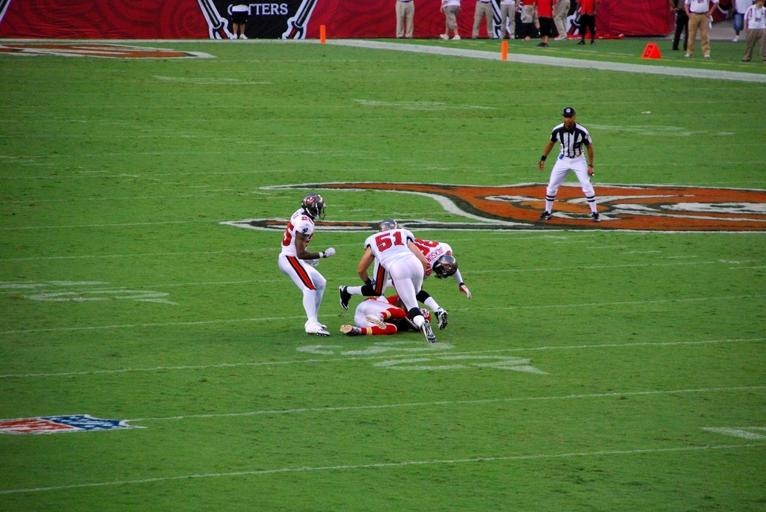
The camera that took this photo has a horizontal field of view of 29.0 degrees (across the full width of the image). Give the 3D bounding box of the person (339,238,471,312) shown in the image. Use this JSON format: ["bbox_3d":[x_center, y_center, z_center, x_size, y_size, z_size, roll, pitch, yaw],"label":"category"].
[{"bbox_3d":[0.303,0.360,24.416,2.197,0.519,1.243,-7,16,27],"label":"person"}]

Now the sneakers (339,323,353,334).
[{"bbox_3d":[-0.649,1.156,23.668,0.213,0.146,0.071,27,7,3],"label":"sneakers"}]

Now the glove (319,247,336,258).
[{"bbox_3d":[-0.963,-0.045,23.132,0.263,0.076,0.226,-5,4,27],"label":"glove"}]

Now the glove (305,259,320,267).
[{"bbox_3d":[-1.184,0.104,23.697,0.206,0.124,0.145,-22,-6,26],"label":"glove"}]

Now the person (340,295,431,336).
[{"bbox_3d":[-0.092,0.928,23.988,1.074,0.289,1.433,10,19,31],"label":"person"}]

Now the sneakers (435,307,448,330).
[{"bbox_3d":[0.867,1.004,23.612,0.243,0.142,0.415,22,-19,9],"label":"sneakers"}]

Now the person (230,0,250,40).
[{"bbox_3d":[-5.108,-8.016,50.721,0.700,1.210,0.952,2,9,-5],"label":"person"}]

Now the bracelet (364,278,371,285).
[{"bbox_3d":[-0.286,0.394,23.763,0.141,0.081,0.111,3,-9,17],"label":"bracelet"}]

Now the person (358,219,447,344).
[{"bbox_3d":[0.348,0.324,23.717,1.512,1.024,2.337,-18,41,4],"label":"person"}]

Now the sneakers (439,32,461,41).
[{"bbox_3d":[2.182,-7.700,52.321,0.915,0.224,0.226,6,2,0],"label":"sneakers"}]
